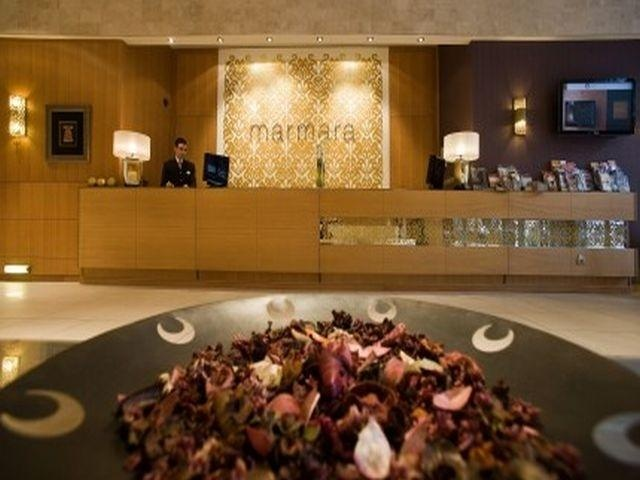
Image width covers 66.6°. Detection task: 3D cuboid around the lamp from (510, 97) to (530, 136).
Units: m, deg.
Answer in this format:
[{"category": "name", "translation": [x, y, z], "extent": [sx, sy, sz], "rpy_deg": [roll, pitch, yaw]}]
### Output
[{"category": "lamp", "translation": [2.384, -1.463, 5.756], "extent": [0.181, 0.443, 0.097], "rpy_deg": [-1, 6, -10]}]

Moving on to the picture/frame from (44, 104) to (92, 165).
[{"category": "picture/frame", "translation": [-2.977, -1.240, 5.760], "extent": [0.585, 0.885, 0.087], "rpy_deg": [1, -1, -2]}]

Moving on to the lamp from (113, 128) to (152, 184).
[{"category": "lamp", "translation": [-2.193, -0.946, 5.690], "extent": [0.380, 0.631, 0.418], "rpy_deg": [0, -4, -23]}]

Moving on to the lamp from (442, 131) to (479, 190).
[{"category": "lamp", "translation": [1.621, -0.941, 5.565], "extent": [0.398, 0.653, 0.631], "rpy_deg": [3, 7, 18]}]

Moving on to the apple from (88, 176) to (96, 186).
[{"category": "apple", "translation": [-2.598, -0.670, 5.536], "extent": [0.103, 0.064, 0.107], "rpy_deg": [-13, 15, -30]}]

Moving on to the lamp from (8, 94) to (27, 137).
[{"category": "lamp", "translation": [-3.609, -1.477, 5.787], "extent": [0.239, 0.503, 0.086], "rpy_deg": [1, 6, 4]}]
